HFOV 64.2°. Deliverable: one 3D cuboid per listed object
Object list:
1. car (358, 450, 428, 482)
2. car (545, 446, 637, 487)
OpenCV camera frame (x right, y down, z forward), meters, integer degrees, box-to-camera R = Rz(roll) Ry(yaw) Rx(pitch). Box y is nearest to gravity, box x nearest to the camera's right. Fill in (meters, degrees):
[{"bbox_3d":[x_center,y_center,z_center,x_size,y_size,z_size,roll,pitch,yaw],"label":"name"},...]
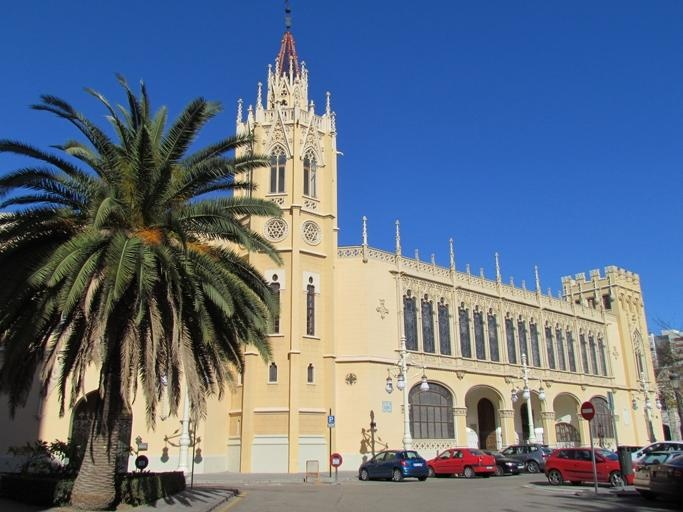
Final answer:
[{"bbox_3d":[2.522,10.679,27.544,3.309,1.451,1.119,-11,-23,27],"label":"car"},{"bbox_3d":[10.179,8.998,23.172,2.632,1.208,1.542,-19,-28,33],"label":"car"}]
